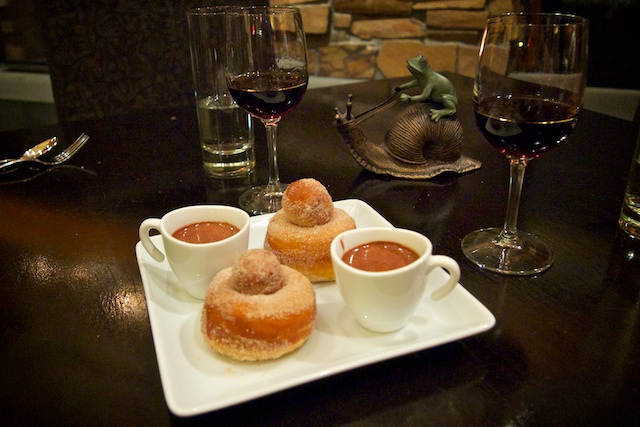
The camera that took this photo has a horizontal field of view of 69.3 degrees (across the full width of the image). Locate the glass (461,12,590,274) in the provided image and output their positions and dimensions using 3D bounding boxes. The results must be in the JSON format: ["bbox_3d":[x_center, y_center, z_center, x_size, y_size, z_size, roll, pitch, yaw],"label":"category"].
[{"bbox_3d":[0.416,-0.149,0.956,0.215,0.465,0.305,8,32,16],"label":"glass"}]

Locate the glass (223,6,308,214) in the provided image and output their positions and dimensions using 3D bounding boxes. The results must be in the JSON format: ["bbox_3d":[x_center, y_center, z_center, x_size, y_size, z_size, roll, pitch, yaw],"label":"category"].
[{"bbox_3d":[-0.132,-0.275,1.176,0.210,0.439,0.375,-7,31,-9],"label":"glass"}]

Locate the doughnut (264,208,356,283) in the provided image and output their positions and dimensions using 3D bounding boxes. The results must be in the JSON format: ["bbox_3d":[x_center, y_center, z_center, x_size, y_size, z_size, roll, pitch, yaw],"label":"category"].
[{"bbox_3d":[-0.033,0.067,0.981,0.156,0.089,0.156,-5,24,-25],"label":"doughnut"}]

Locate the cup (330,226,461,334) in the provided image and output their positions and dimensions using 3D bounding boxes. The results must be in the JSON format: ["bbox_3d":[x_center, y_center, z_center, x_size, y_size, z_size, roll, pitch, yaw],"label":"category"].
[{"bbox_3d":[0.134,0.127,0.852,0.222,0.160,0.175,4,24,17],"label":"cup"}]

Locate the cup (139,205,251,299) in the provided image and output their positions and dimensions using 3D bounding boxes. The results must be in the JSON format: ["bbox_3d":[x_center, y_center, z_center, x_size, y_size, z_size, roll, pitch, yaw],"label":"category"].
[{"bbox_3d":[-0.259,0.088,0.944,0.215,0.149,0.166,0,24,-12],"label":"cup"}]

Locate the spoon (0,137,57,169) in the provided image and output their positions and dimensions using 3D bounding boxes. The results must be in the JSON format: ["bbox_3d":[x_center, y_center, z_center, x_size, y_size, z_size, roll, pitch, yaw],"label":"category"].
[{"bbox_3d":[-0.834,-0.192,1.382,0.038,0.030,0.229,14,32,18],"label":"spoon"}]

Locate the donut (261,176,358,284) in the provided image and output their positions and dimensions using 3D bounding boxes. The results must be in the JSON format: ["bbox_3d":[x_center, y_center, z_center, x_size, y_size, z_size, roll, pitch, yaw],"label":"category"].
[{"bbox_3d":[-0.012,0.025,0.994,0.204,0.200,0.209,6,20,13],"label":"donut"}]

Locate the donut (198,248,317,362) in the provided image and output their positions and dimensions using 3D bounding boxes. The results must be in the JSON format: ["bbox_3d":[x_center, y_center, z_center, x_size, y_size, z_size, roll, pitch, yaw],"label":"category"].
[{"bbox_3d":[-0.106,0.141,0.857,0.225,0.152,0.227,0,24,-6],"label":"donut"}]
